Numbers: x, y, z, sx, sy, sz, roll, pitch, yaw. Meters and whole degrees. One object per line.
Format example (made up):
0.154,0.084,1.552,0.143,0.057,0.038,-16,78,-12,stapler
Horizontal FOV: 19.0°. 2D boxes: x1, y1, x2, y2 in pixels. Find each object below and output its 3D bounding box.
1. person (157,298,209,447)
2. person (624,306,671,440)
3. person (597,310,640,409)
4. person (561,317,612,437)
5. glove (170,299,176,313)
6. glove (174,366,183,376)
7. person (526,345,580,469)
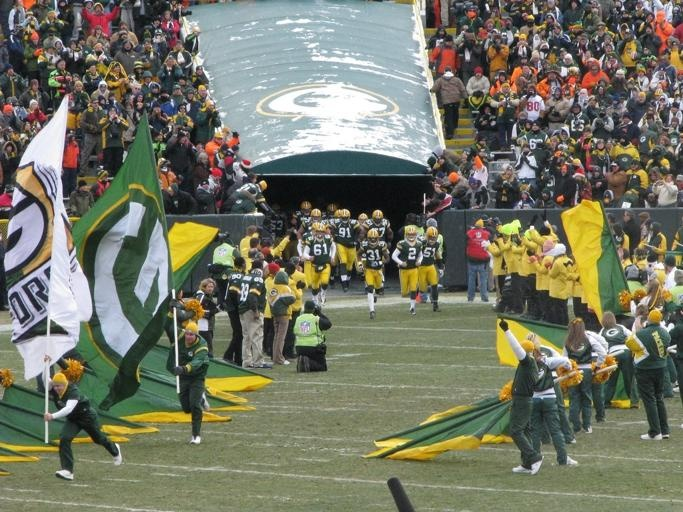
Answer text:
-3.172,2.360,42.313,1.060,2.741,0.833,6,10,6,person
6.308,2.397,42.254,1.084,2.607,0.864,1,-2,-36,person
5.905,2.110,43.929,0.812,2.122,0.724,-4,11,16,person
5.009,2.425,42.382,1.003,2.308,0.836,5,10,12,person
-3.479,0.957,42.611,0.109,0.276,0.206,10,9,-11,glove
-3.272,2.258,41.681,0.177,0.177,0.411,2,-3,1,glove
4.220,2.950,40.987,1.025,2.204,1.113,8,7,0,person
